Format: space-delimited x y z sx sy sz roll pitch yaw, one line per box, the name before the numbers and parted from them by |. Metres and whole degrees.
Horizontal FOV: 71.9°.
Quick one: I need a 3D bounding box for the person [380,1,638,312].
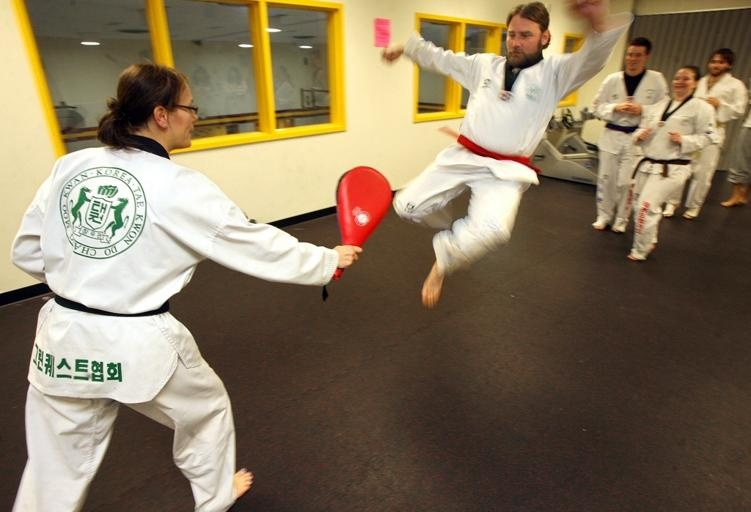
person | 0.654 -0.601 3.128 1.277 1.701 0.849 11 31 19
